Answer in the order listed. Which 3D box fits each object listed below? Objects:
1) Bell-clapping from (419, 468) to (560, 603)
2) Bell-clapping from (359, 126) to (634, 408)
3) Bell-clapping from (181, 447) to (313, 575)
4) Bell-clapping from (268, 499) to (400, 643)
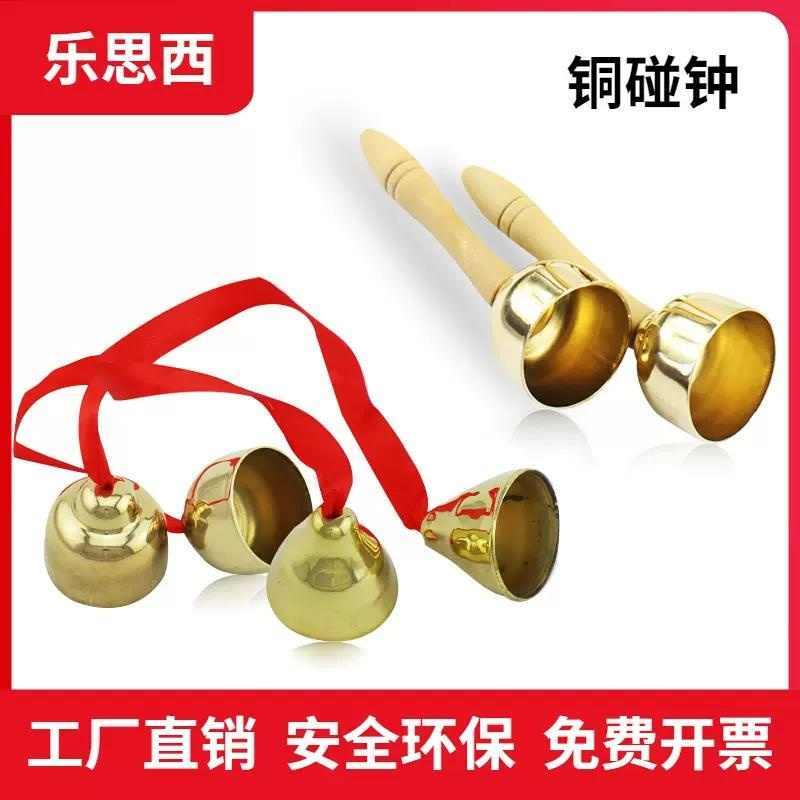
[{"bbox_3d":[0.151,0.191,1.521,0.168,0.202,0.180,3,13,-42],"label":"Bell-clapping"},{"bbox_3d":[0.196,-0.351,2.234,0.259,0.314,0.822,-21,36,-15],"label":"Bell-clapping"},{"bbox_3d":[-0.275,0.193,1.649,0.144,0.233,0.173,-8,10,46],"label":"Bell-clapping"},{"bbox_3d":[-0.098,0.208,1.447,0.196,0.164,0.244,-9,52,-12],"label":"Bell-clapping"}]
